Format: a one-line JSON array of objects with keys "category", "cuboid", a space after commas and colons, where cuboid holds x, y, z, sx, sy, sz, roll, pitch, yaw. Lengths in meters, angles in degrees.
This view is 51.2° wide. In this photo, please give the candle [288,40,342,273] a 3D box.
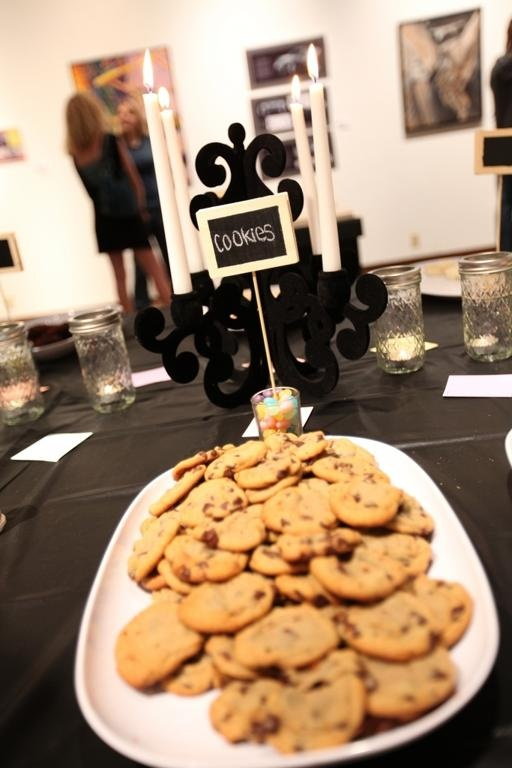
[{"category": "candle", "cuboid": [0.105, -0.371, 0.938, 0.107, 0.532, 0.140, 1, 19, 10]}]

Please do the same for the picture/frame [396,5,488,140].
[{"category": "picture/frame", "cuboid": [1.538, -2.560, 4.338, 0.634, 0.876, 0.020, -5, 4, 3]}]

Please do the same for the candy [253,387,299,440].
[{"category": "candy", "cuboid": [0.021, 0.038, 0.880, 0.067, 0.085, 0.083, 6, 12, -6]}]

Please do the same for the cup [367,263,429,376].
[{"category": "cup", "cuboid": [0.310, -0.115, 1.207, 0.106, 0.289, 0.110, -1, 20, 0]}]

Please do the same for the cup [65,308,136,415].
[{"category": "cup", "cuboid": [-0.359, -0.037, 1.280, 0.113, 0.264, 0.126, 3, 20, 31]}]
